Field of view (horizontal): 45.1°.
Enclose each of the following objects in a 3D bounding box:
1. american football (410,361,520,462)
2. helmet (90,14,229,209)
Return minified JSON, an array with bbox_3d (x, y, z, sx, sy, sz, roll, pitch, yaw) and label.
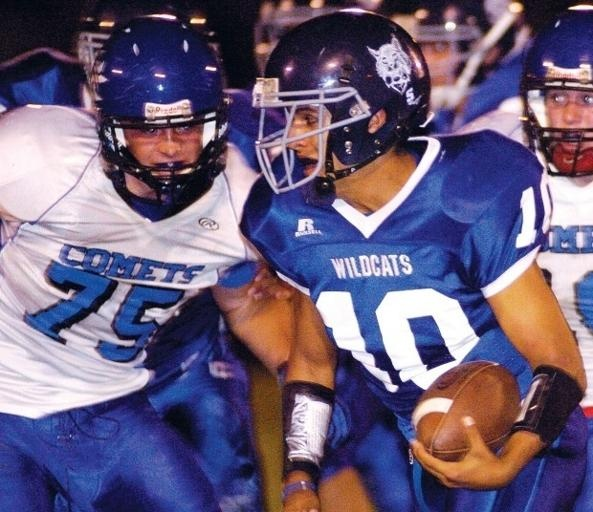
[{"bbox_3d":[0.451,0.358,1.782,0.215,0.145,0.283,32,30,29],"label":"american football"},{"bbox_3d":[-0.384,-0.451,2.199,0.422,0.554,0.437,-3,24,-3],"label":"helmet"}]
